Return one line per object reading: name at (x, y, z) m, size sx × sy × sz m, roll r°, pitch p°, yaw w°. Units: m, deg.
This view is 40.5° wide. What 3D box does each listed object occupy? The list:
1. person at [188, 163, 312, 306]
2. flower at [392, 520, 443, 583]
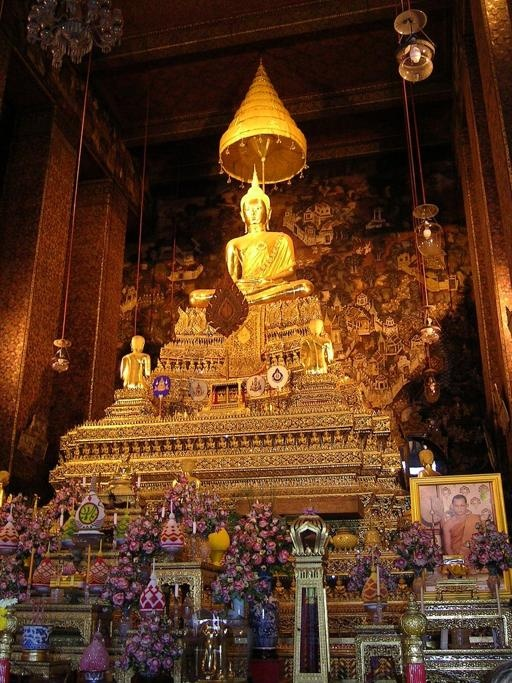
person at (-0.029, -0.849, 5.594) m, size 0.879 × 1.238 × 0.261 m, roll -4°, pitch -24°, yaw 5°
flower at (0.516, 0.676, 2.248) m, size 0.145 × 0.171 × 0.208 m, roll -4°, pitch -23°, yaw 5°
